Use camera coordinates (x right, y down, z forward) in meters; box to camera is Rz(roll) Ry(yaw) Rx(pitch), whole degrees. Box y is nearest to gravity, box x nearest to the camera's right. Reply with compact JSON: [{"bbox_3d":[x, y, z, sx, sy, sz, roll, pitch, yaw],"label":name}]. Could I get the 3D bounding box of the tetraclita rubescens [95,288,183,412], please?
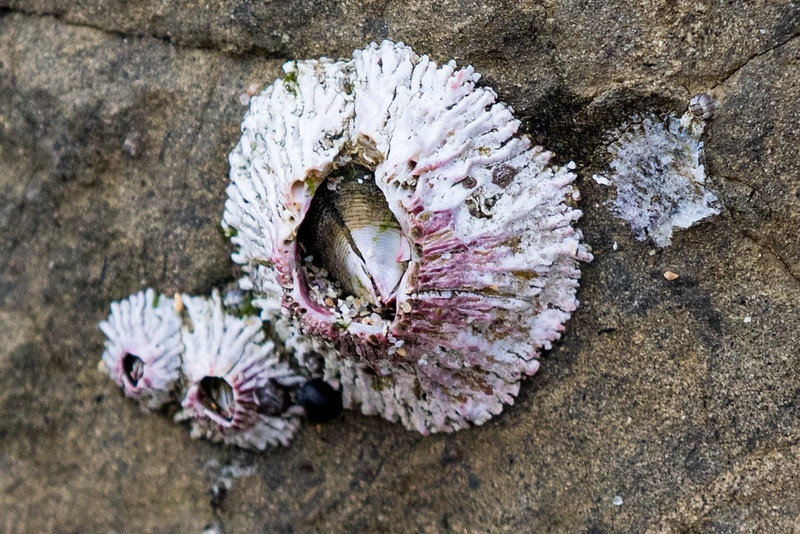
[{"bbox_3d":[-1.845,0.529,7.618,0.687,0.215,0.784,-32,82,32],"label":"tetraclita rubescens"}]
